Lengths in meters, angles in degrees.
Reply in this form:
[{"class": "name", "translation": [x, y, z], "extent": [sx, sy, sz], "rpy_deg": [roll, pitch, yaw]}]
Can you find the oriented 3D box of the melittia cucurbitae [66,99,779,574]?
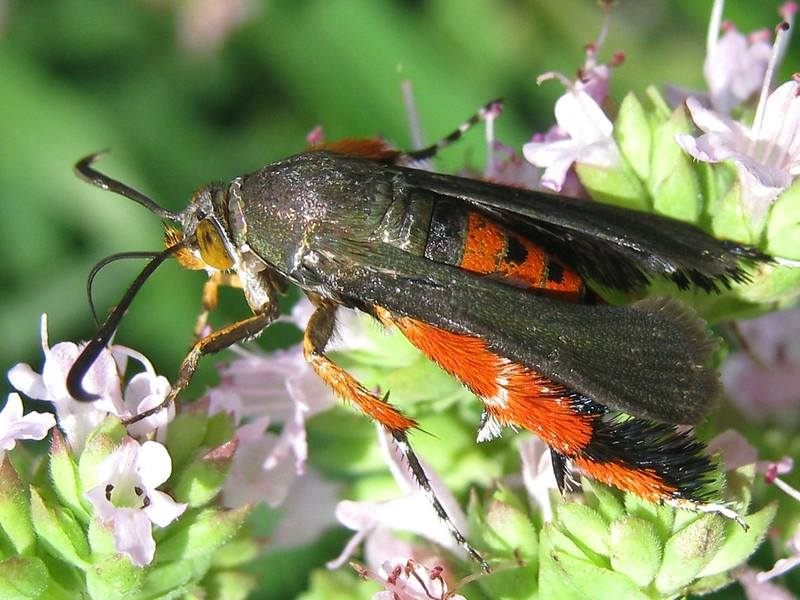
[{"class": "melittia cucurbitae", "translation": [0.159, 0.026, 1.988], "extent": [1.263, 1.083, 0.640], "rpy_deg": [-22, 26, 31]}]
